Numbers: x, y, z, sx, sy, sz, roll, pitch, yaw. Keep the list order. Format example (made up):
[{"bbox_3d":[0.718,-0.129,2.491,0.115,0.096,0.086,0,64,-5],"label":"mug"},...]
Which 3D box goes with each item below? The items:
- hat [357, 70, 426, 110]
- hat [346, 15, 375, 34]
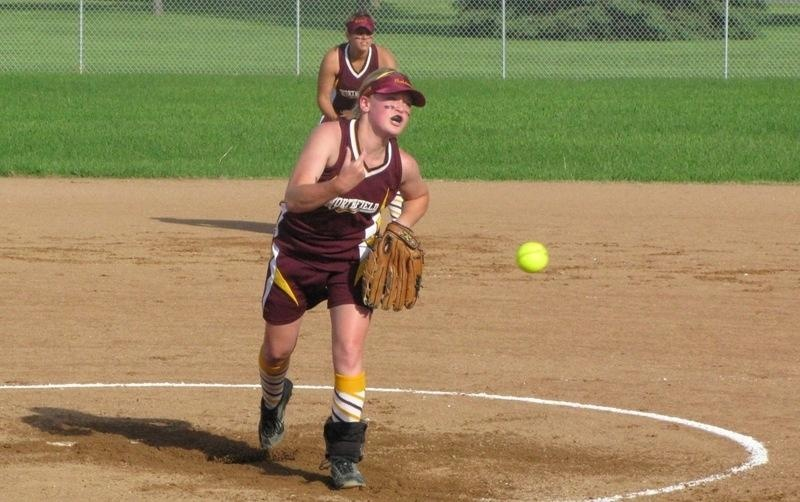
[{"bbox_3d":[-0.070,-1.711,15.215,0.407,0.276,0.539,3,4,-45],"label":"hat"},{"bbox_3d":[-0.531,-3.045,19.254,0.354,0.264,0.243,0,8,-9],"label":"hat"}]
